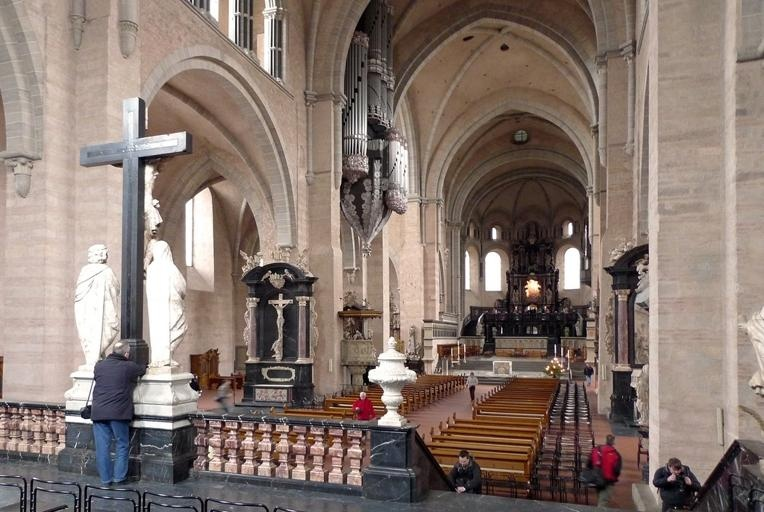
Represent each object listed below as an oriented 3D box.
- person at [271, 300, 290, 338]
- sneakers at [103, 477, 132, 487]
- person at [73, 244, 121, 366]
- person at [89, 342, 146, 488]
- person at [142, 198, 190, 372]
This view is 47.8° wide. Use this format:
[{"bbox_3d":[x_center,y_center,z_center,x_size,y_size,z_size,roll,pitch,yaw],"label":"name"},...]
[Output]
[{"bbox_3d":[-2.699,1.649,23.077,0.483,0.972,0.260,1,-9,-4],"label":"person"},{"bbox_3d":[-4.204,3.536,13.654,0.373,0.145,0.125,0,0,-38],"label":"sneakers"},{"bbox_3d":[-4.707,0.807,14.263,0.680,2.064,0.414,4,-9,-18],"label":"person"},{"bbox_3d":[-4.261,2.505,13.746,0.723,2.213,0.279,3,-9,-12],"label":"person"},{"bbox_3d":[-3.582,0.435,14.254,0.701,2.830,0.406,3,-9,-15],"label":"person"}]
